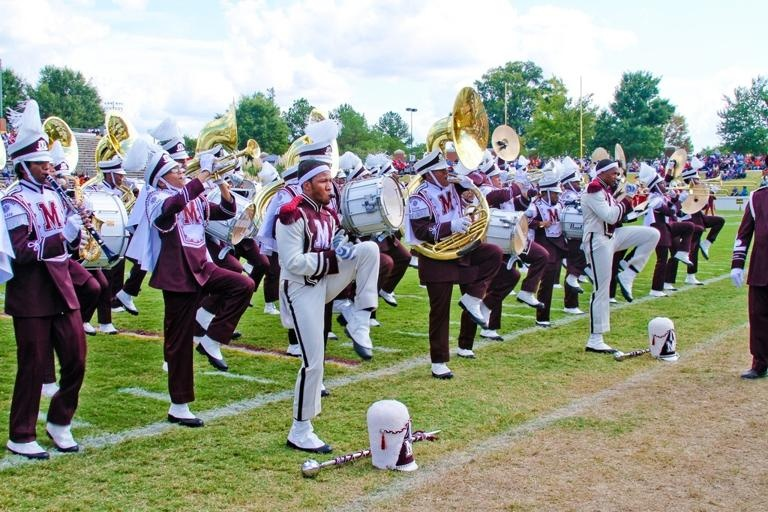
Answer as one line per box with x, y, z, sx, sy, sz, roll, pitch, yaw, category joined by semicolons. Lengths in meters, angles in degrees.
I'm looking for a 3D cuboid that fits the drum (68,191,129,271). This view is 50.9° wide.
-2.938;-0.258;8.254;0.419;0.880;1.209;3;-2;-18;drum

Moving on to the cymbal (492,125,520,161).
1.917;-1.890;13.413;0.591;0.520;0.272;11;1;-20;cymbal

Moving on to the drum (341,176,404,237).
-0.097;-0.428;8.154;0.604;0.686;0.767;-8;-7;28;drum

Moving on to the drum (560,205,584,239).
2.722;-0.509;11.726;0.467;0.429;0.344;6;24;30;drum

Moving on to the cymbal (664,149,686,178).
5.573;-1.742;15.541;0.642;0.588;0.145;-24;38;-23;cymbal

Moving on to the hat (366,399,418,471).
0.065;1.538;6.904;0.429;0.567;0.224;0;12;-2;hat
